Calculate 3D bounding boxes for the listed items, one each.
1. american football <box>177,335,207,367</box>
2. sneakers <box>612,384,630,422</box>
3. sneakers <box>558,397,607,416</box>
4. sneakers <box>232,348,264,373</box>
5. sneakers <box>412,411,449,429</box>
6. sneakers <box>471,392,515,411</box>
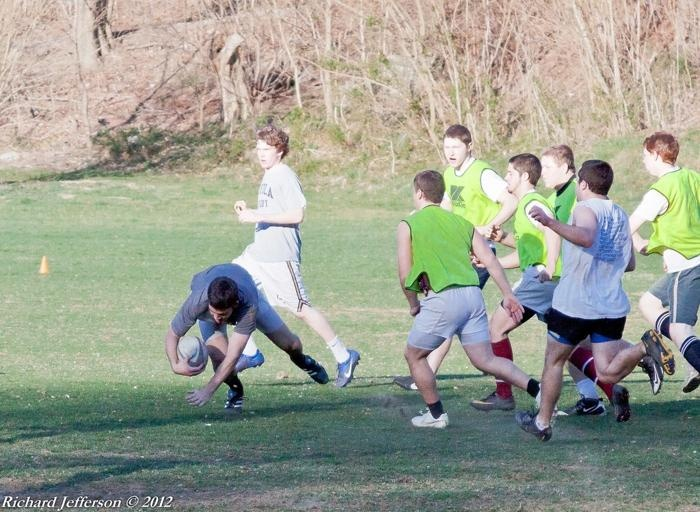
[{"bbox_3d":[-1.978,1.206,16.025,0.415,0.385,0.303,-2,27,0],"label":"american football"},{"bbox_3d":[3.389,1.854,15.560,0.220,0.276,0.580,29,7,2],"label":"sneakers"},{"bbox_3d":[3.012,1.908,16.030,0.726,0.282,0.235,1,2,2],"label":"sneakers"},{"bbox_3d":[-1.379,1.426,17.112,0.528,0.238,0.181,-15,5,-30],"label":"sneakers"},{"bbox_3d":[1.023,2.064,15.711,0.456,0.193,0.189,3,1,5],"label":"sneakers"},{"bbox_3d":[1.887,1.900,16.345,0.571,0.246,0.217,1,-4,2],"label":"sneakers"}]
